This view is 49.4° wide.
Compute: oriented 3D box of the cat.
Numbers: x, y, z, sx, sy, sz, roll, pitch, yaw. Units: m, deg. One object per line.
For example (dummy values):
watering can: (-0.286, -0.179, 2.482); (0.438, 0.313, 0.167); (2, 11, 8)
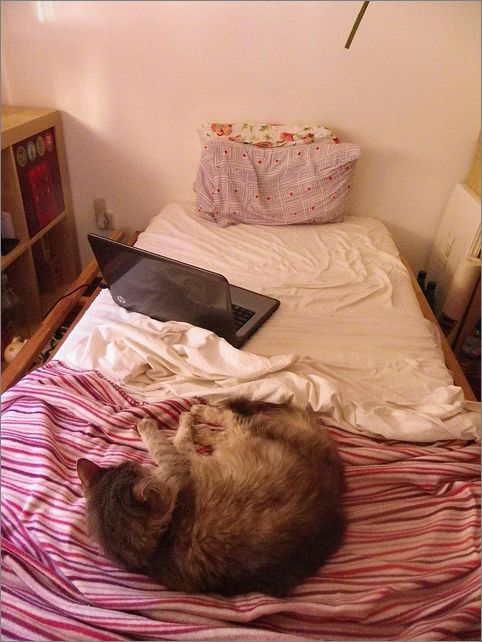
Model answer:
cat: (-0.019, 0.346, 1.050); (0.358, 0.147, 0.393); (31, 48, 33)

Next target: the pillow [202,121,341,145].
pillow: (0.143, -0.856, 2.393); (0.416, 0.075, 0.117); (3, 28, 14)

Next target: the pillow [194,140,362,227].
pillow: (0.153, -0.607, 2.346); (0.633, 0.385, 0.213); (4, -5, 9)
